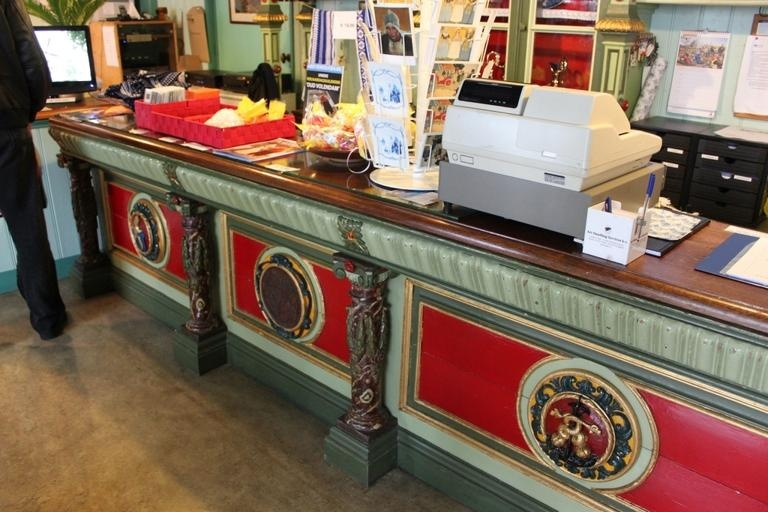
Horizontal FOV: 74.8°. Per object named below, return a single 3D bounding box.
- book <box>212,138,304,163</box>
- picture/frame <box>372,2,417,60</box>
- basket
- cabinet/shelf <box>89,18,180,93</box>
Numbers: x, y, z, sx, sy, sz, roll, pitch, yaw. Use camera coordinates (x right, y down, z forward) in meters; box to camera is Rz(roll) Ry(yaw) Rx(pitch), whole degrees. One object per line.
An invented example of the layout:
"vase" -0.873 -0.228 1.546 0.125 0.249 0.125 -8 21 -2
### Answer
"book" -0.676 -0.576 2.750 0.240 0.029 0.279 22 31 38
"picture/frame" 0.052 -0.990 2.194 0.232 0.243 0.027 22 41 31
"basket" -1.065 -0.855 3.122 0.954 0.173 0.532 21 32 34
"cabinet/shelf" -3.051 -2.467 6.177 0.553 0.758 0.840 16 31 25
